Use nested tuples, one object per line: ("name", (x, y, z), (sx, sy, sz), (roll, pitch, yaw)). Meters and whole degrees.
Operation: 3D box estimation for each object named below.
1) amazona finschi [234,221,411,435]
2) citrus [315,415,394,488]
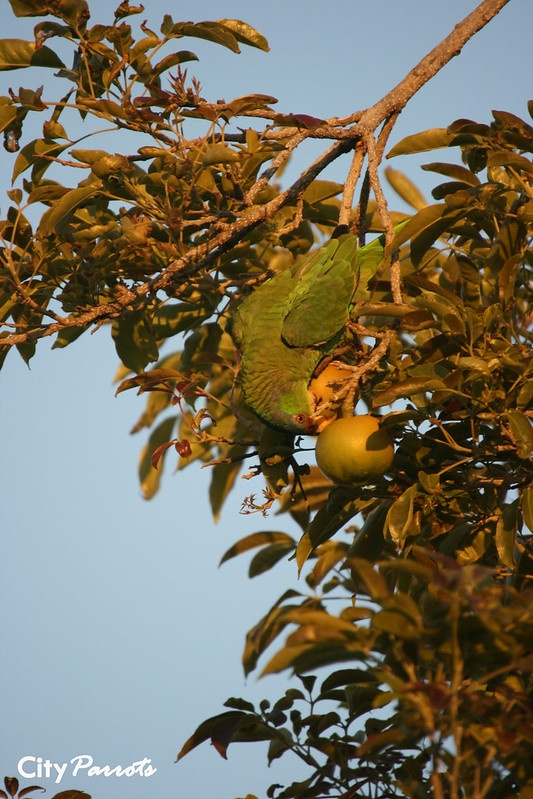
("amazona finschi", (0.125, -0.281, 4.722), (0.323, 0.690, 0.243), (17, -10, -14))
("citrus", (0.200, 0.114, 4.146), (0.180, 0.166, 0.172), (2, -5, 40))
